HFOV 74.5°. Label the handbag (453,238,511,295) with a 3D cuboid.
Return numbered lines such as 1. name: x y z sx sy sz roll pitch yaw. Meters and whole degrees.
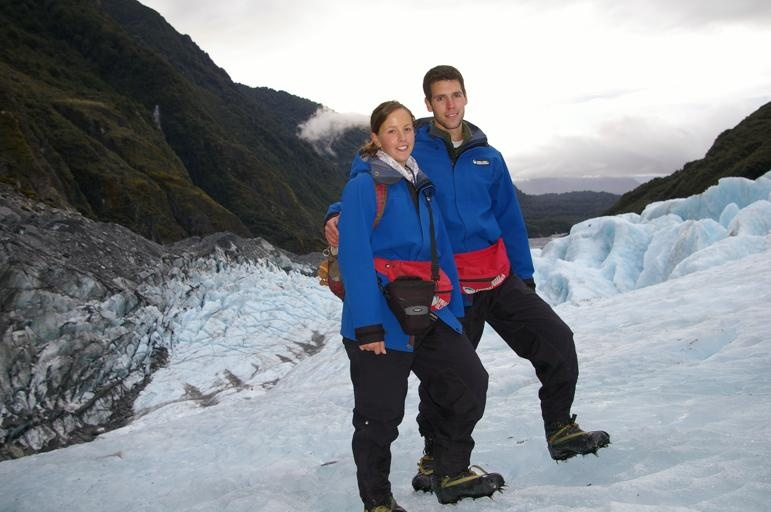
1. handbag: 1.227 0.148 6.532 0.750 0.580 0.250 -13 5 -19
